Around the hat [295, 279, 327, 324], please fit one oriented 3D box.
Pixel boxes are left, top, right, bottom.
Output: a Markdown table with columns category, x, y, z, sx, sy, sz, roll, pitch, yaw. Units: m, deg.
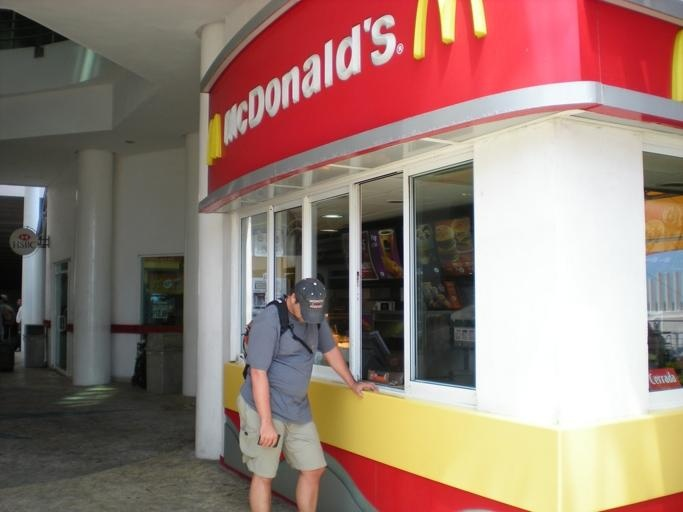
| category | x | y | z | sx | sy | sz | roll | pitch | yaw |
| --- | --- | --- | --- | --- | --- | --- | --- | --- | --- |
| hat | -0.215 | 0.303 | 3.804 | 0.199 | 0.304 | 0.229 | -1 | -5 | -5 |
